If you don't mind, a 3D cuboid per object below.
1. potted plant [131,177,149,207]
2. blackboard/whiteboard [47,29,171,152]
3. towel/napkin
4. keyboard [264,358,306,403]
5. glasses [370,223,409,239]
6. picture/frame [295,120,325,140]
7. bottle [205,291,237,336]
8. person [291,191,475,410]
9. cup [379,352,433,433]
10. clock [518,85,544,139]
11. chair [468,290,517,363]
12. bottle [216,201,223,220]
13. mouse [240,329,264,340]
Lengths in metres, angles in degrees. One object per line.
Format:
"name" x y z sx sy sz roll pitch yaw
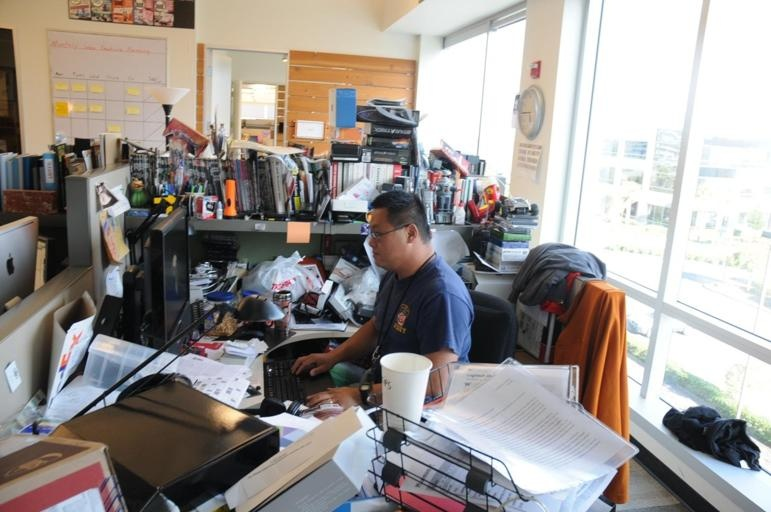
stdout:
"potted plant" -1.421 -0.365 3.081 0.091 0.157 0.126 -4 15 -22
"blackboard/whiteboard" -3.120 -1.888 6.072 1.251 1.223 0.307 2 14 2
"towel/napkin" 1.119 0.551 2.850 0.418 0.811 0.283 7 15 20
"keyboard" -0.467 0.581 2.471 0.121 0.052 0.365 3 19 -14
"glasses" 0.010 -0.110 2.419 0.099 0.026 0.094 -14 13 -12
"picture/frame" -0.944 -1.574 6.651 0.361 0.224 0.079 3 16 -12
"bottle" -0.811 0.291 2.637 0.168 0.182 0.165 2 19 -8
"person" -0.121 0.174 2.781 0.937 1.182 1.004 0 6 -11
"cup" 0.053 0.403 1.552 0.140 0.222 0.166 4 14 8
"clock" 1.174 -1.161 4.340 0.084 0.348 0.353 0 -9 -14
"chair" 0.517 0.351 2.583 0.233 0.293 0.273 4 14 9
"bottle" -0.976 -0.270 3.151 0.040 0.097 0.102 -2 14 -16
"mouse" -0.683 0.400 2.735 0.083 0.021 0.046 -3 10 -33
